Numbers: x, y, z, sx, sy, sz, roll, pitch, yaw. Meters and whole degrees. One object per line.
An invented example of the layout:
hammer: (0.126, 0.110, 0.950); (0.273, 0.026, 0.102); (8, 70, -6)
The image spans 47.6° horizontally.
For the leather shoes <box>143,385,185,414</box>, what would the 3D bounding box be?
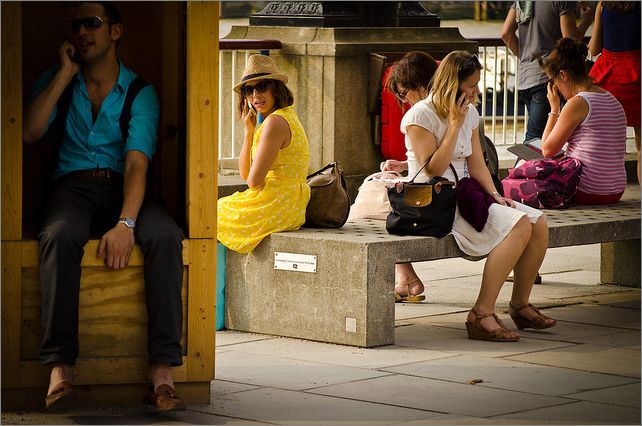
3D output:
leather shoes: (-0.907, 1.059, 4.205); (0.269, 0.102, 0.124); (2, 1, 45)

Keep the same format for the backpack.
backpack: (2.101, -0.262, 6.952); (0.643, 0.481, 0.289); (10, 2, 6)

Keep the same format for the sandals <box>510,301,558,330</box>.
sandals: (1.739, 0.839, 5.966); (0.375, 0.195, 0.189); (0, 7, 24)

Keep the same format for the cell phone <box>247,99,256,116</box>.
cell phone: (-0.608, -0.895, 6.154); (0.053, 0.067, 0.187); (-21, 32, -8)

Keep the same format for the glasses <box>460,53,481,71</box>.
glasses: (1.144, -1.138, 5.588); (0.131, 0.040, 0.131); (-33, 4, -28)

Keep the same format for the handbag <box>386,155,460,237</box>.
handbag: (0.823, -0.109, 5.670); (0.689, 0.757, 0.283); (1, 0, 17)

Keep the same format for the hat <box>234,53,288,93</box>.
hat: (-0.466, -1.150, 5.916); (0.347, 0.133, 0.295); (3, -20, -34)

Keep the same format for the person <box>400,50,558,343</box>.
person: (1.268, -0.142, 5.811); (1.202, 2.232, 0.606); (4, 10, 19)

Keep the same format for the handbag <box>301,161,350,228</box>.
handbag: (0.037, -0.132, 6.085); (0.265, 0.516, 0.628); (11, -15, -33)

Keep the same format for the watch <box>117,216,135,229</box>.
watch: (-1.162, 0.056, 4.340); (0.075, 0.038, 0.075); (37, 14, 22)

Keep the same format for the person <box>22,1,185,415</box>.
person: (-1.327, -0.119, 4.405); (0.852, 2.342, 1.094); (-3, 10, -22)

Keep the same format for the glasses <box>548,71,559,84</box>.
glasses: (2.274, -1.293, 7.019); (0.032, 0.097, 0.099); (17, -1, 6)

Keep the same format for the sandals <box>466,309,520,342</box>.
sandals: (1.350, 0.878, 5.679); (0.421, 0.205, 0.208); (2, 4, 18)

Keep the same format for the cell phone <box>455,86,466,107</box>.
cell phone: (1.066, -0.896, 5.559); (0.029, 0.094, 0.069); (19, 5, -5)
